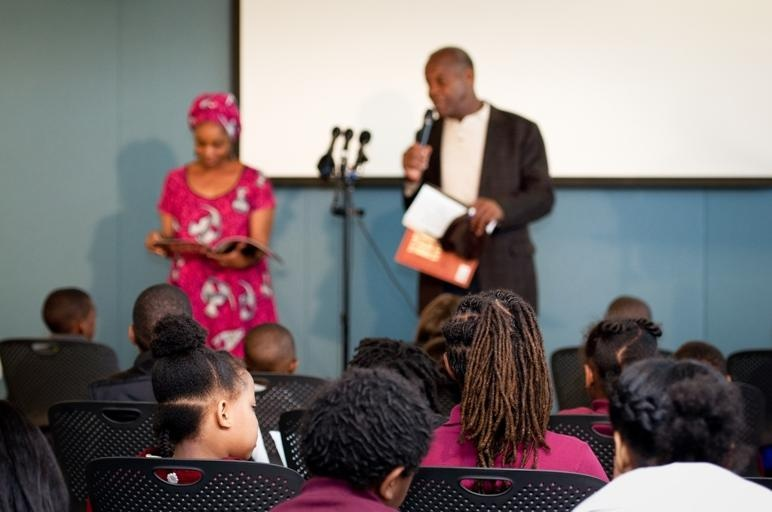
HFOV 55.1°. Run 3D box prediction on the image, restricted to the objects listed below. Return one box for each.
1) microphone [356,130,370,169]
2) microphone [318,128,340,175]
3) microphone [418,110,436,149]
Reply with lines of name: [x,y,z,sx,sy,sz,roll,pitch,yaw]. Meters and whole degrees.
microphone: [-0.136,-0.547,4.089,0.088,0.263,0.036,23,40,17]
microphone: [-0.319,-0.544,4.169,0.111,0.333,0.065,13,9,-5]
microphone: [0.223,-0.660,3.930,0.110,0.109,0.352,12,4,4]
